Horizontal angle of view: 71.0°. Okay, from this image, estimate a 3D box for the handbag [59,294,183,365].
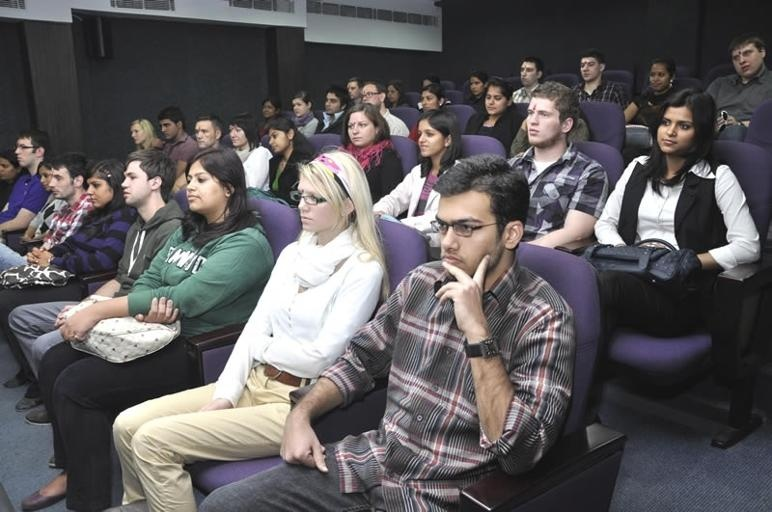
[{"bbox_3d":[-1.228,0.279,2.382,0.373,0.136,0.282,12,21,35],"label":"handbag"}]

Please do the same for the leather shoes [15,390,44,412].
[{"bbox_3d":[-2.015,0.814,3.041,0.069,0.075,0.185,0,-6,14],"label":"leather shoes"}]

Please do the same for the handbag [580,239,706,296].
[{"bbox_3d":[1.186,0.030,2.441,0.354,0.129,0.296,15,25,36],"label":"handbag"}]

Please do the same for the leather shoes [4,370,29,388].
[{"bbox_3d":[-2.229,0.740,3.251,0.060,0.076,0.183,15,12,34],"label":"leather shoes"}]

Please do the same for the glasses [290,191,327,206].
[{"bbox_3d":[-0.304,-0.229,2.208,0.099,0.027,0.103,7,-1,39],"label":"glasses"}]
